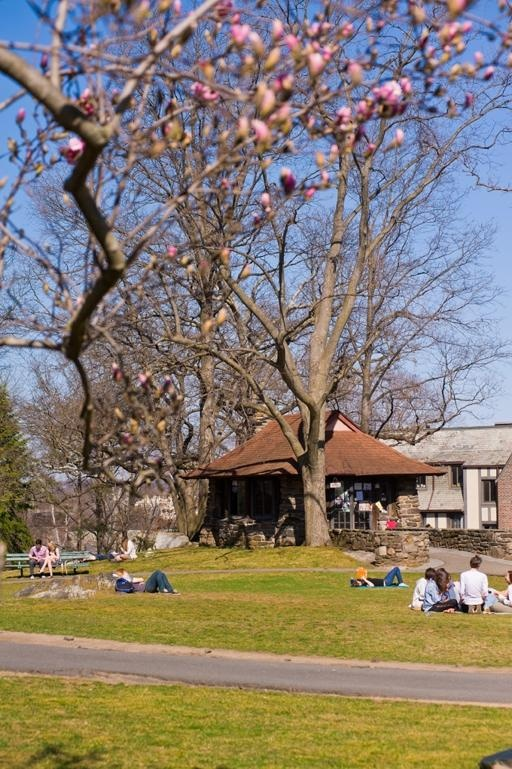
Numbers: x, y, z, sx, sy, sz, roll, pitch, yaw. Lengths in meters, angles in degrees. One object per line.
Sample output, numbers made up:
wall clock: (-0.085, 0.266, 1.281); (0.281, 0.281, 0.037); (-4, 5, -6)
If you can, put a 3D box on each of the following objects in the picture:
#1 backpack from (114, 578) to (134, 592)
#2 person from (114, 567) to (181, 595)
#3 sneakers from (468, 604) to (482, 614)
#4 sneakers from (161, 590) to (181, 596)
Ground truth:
backpack: (-3.121, 4.810, 19.830); (0.360, 0.283, 0.274); (-2, -7, 0)
person: (-2.612, 4.698, 19.777); (1.394, 0.505, 0.650); (-4, -7, 17)
sneakers: (4.420, 4.536, 16.769); (0.208, 0.131, 0.198); (0, -6, 6)
sneakers: (-1.935, 4.777, 19.013); (0.449, 0.164, 0.149); (-2, -10, 18)
